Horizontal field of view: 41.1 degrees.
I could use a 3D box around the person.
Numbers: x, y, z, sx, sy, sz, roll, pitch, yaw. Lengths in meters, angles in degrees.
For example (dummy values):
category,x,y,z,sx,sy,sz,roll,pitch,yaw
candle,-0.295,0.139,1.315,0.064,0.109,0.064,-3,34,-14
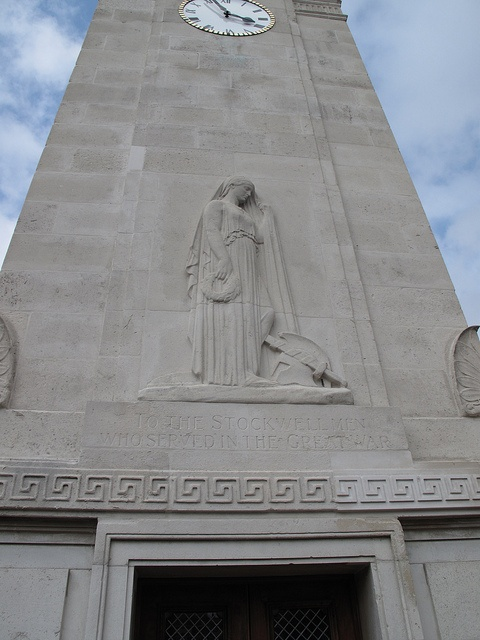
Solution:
category,x,y,z,sx,sy,sz,roll,pitch,yaw
person,-0.034,-0.559,7.416,1.179,3.084,0.320,1,-38,-6
